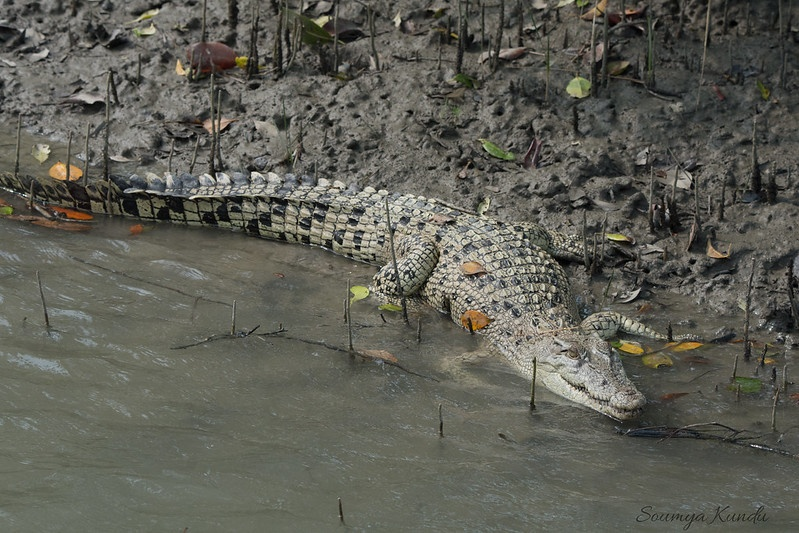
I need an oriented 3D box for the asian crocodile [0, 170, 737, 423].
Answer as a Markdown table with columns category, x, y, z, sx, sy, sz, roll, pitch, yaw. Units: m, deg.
| category | x | y | z | sx | sy | sz | roll | pitch | yaw |
| --- | --- | --- | --- | --- | --- | --- | --- | --- | --- |
| asian crocodile | -0.186 | -0.229 | 11.706 | 5.691 | 0.596 | 2.729 | 20 | 38 | 32 |
